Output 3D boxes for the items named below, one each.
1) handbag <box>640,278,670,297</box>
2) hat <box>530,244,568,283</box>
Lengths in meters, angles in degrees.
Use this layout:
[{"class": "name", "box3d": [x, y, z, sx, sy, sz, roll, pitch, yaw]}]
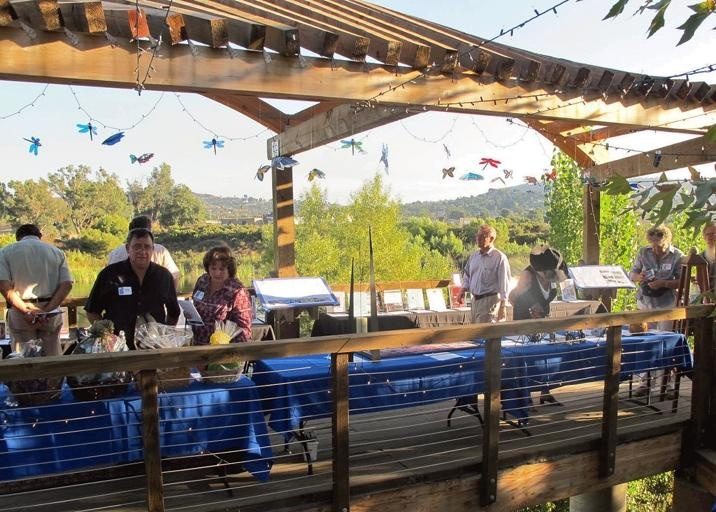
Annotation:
[{"class": "handbag", "box3d": [3.297, 0.349, 6.508, 0.296, 0.230, 0.173, -2, 4, 28]}, {"class": "hat", "box3d": [1.729, 0.068, 5.359, 0.292, 0.377, 0.143, -38, -9, 1]}]
